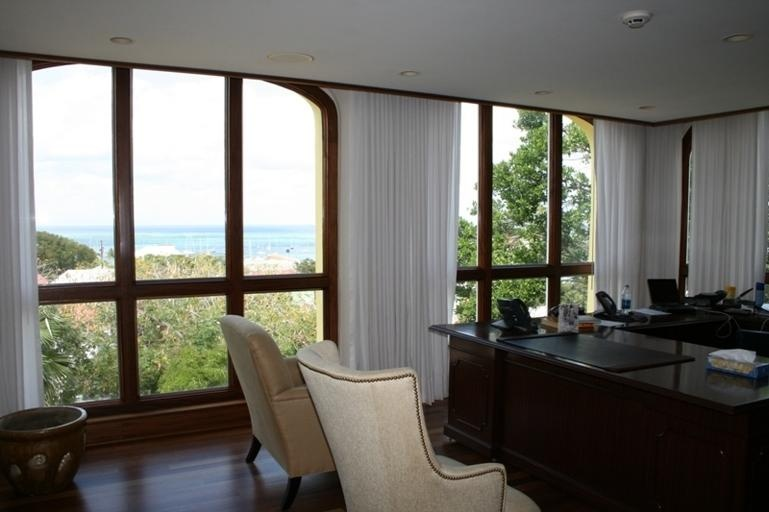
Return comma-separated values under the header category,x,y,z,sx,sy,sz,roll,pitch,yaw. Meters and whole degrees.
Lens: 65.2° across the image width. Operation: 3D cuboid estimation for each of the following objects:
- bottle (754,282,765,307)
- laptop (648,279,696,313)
category,x,y,z,sx,sy,sz,roll,pitch,yaw
bottle,3.844,0.390,6.148,0.070,0.241,0.107,4,16,26
laptop,3.079,0.422,6.405,0.410,0.362,0.283,1,-12,-8
